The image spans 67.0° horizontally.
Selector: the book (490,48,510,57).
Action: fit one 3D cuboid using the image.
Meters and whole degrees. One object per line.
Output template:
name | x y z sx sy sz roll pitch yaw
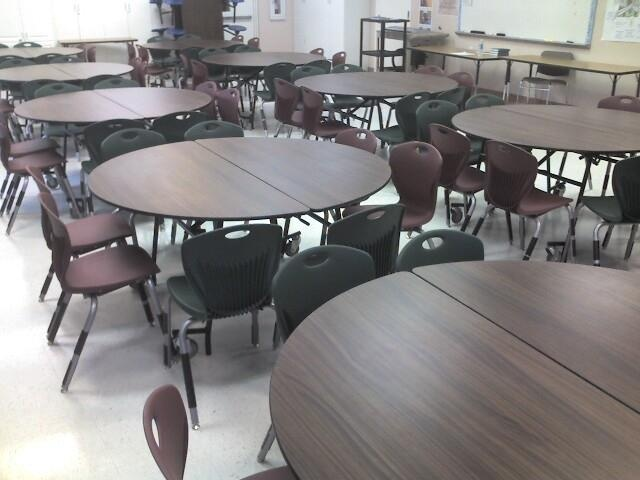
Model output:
book | 3.046 -3.181 8.208 0.226 0.096 0.244 -12 17 -38
